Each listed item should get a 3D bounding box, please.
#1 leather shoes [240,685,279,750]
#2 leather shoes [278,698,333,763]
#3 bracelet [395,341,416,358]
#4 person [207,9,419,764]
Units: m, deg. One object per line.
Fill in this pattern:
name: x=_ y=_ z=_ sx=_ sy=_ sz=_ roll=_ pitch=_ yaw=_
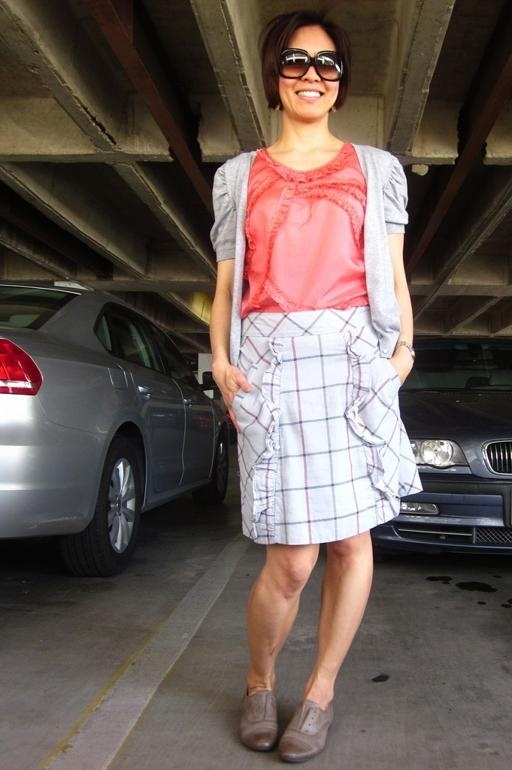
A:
leather shoes: x=0.005 y=0.755 z=1.270 sx=0.054 sy=0.055 sz=0.149 roll=1 pitch=-2 yaw=-1
leather shoes: x=0.107 y=0.750 z=1.200 sx=0.059 sy=0.061 sz=0.156 roll=-1 pitch=6 yaw=20
bracelet: x=0.352 y=-0.081 z=1.298 sx=0.047 sy=0.049 sz=0.031 roll=-4 pitch=8 yaw=25
person: x=0.104 y=-0.047 z=1.261 sx=0.497 sy=1.715 sz=0.306 roll=-1 pitch=-5 yaw=15
